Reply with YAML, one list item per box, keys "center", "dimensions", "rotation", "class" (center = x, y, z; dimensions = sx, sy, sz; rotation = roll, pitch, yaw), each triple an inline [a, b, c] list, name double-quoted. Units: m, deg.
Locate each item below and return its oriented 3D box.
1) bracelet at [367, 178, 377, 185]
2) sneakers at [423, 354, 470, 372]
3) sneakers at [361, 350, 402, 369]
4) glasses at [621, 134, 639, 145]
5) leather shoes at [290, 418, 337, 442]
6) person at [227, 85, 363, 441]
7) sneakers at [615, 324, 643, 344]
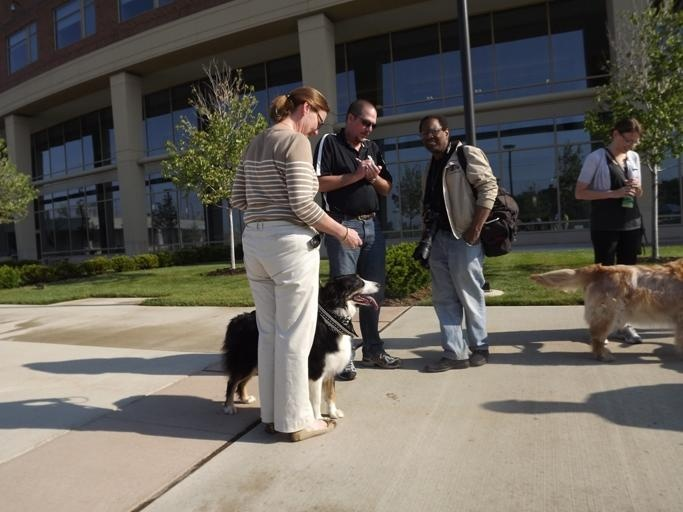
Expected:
- center: [0.346, -0.824, 6.530]
  dimensions: [0.062, 0.072, 0.072]
  rotation: [-2, -10, 11]
  class: "bracelet"
- center: [1.161, 1.197, 6.645]
  dimensions: [0.497, 0.200, 0.182]
  rotation: [1, -8, -3]
  class: "sneakers"
- center: [0.460, 1.193, 6.833]
  dimensions: [0.424, 0.207, 0.172]
  rotation: [-1, -4, 15]
  class: "sneakers"
- center: [3.344, -1.387, 6.962]
  dimensions: [0.139, 0.145, 0.045]
  rotation: [-1, -22, -8]
  class: "glasses"
- center: [-0.253, 1.606, 5.561]
  dimensions: [0.431, 0.119, 0.164]
  rotation: [-15, 12, -26]
  class: "leather shoes"
- center: [-0.474, 0.063, 5.548]
  dimensions: [0.906, 3.233, 0.578]
  rotation: [-5, 6, -10]
  class: "person"
- center: [3.439, 0.913, 7.164]
  dimensions: [0.211, 0.213, 0.499]
  rotation: [-1, -1, -6]
  class: "sneakers"
